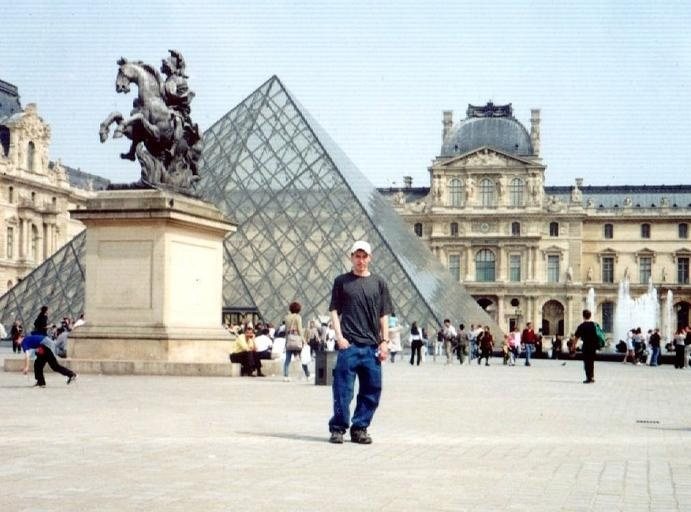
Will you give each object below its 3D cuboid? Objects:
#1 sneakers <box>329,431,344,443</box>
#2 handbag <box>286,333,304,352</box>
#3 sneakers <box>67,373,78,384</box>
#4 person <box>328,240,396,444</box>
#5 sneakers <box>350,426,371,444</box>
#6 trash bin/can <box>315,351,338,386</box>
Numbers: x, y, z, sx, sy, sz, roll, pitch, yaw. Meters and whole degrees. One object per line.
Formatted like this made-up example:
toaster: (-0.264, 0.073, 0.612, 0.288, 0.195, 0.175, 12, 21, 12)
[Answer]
sneakers: (-0.087, 2.203, 17.124, 0.175, 0.146, 0.183, 0, -6, -3)
handbag: (-0.887, 1.538, 25.161, 0.306, 0.383, 0.149, 0, -20, 2)
sneakers: (-4.357, 1.962, 22.604, 0.107, 0.132, 0.316, 2, 8, 0)
person: (0.199, 1.049, 17.205, 0.744, 2.462, 0.407, 0, -6, -2)
sneakers: (0.205, 2.195, 17.142, 0.120, 0.133, 0.300, 2, -13, -22)
trash bin/can: (-0.339, 1.939, 24.525, 0.353, 0.461, 0.343, 3, -5, -19)
